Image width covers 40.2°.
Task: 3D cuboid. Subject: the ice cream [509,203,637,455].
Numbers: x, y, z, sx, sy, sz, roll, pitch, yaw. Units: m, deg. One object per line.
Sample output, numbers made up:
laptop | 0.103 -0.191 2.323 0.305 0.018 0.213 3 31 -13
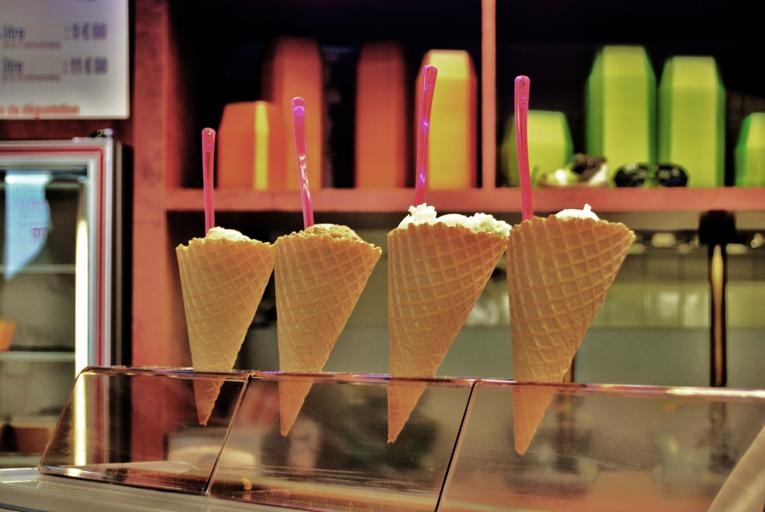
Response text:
ice cream | 0.557 0.194 2.944 0.259 0.657 0.351 2 -2 15

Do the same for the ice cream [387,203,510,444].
ice cream | 0.201 0.184 2.927 0.255 0.635 0.321 0 -5 16

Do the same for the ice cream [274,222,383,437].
ice cream | -0.126 0.203 2.976 0.258 0.572 0.296 1 -2 6
